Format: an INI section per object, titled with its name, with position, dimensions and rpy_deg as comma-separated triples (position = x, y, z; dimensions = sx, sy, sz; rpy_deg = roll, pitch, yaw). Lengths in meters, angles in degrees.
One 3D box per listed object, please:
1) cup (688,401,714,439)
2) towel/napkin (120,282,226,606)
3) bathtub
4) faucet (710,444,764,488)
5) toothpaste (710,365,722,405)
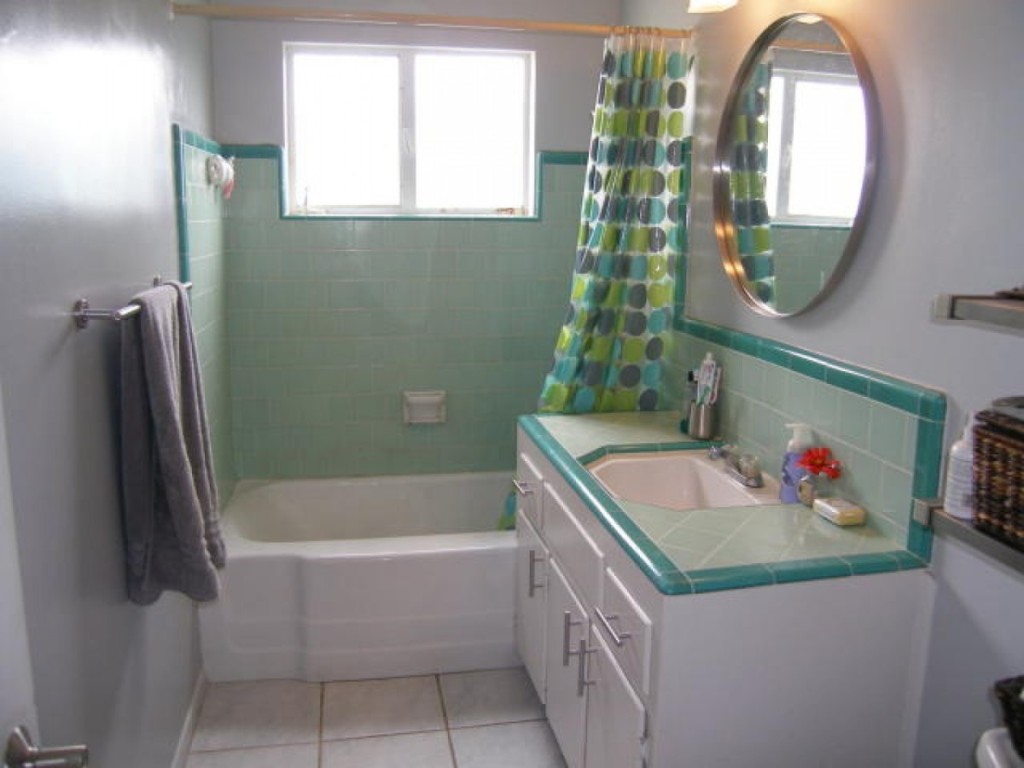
[cup]
position = 0.688, 0.128, 2.878
dimensions = 0.104, 0.129, 0.108
rpy_deg = 0, 12, 0
[towel/napkin]
position = -0.988, 0.171, 2.223
dimensions = 0.252, 0.869, 0.407
rpy_deg = -5, 17, -16
[bathtub]
position = -0.652, 0.801, 3.488
dimensions = 1.265, 0.556, 0.883
rpy_deg = -2, 17, -7
[faucet]
position = 0.746, 0.276, 2.582
dimensions = 0.066, 0.094, 0.228
rpy_deg = -2, 8, -7
[toothpaste]
position = 0.746, 0.006, 2.825
dimensions = 0.029, 0.122, 0.065
rpy_deg = 7, 0, 8
